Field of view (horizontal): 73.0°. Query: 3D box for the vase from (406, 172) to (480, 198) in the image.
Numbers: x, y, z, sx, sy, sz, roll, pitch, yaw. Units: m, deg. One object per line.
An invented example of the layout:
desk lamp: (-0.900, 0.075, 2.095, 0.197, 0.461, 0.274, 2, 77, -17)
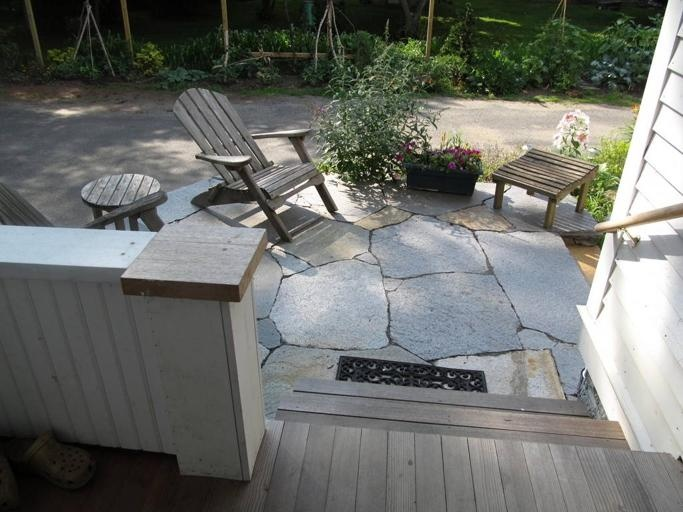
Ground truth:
vase: (1.077, -0.774, 4.802, 0.536, 0.146, 0.320, 5, 26, 12)

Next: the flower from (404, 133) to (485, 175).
flower: (1.083, -1.039, 4.832, 0.763, 0.216, 0.514, 8, 36, 12)

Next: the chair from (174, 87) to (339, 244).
chair: (-0.857, -0.932, 4.320, 1.377, 0.886, 0.943, 24, 42, 21)
